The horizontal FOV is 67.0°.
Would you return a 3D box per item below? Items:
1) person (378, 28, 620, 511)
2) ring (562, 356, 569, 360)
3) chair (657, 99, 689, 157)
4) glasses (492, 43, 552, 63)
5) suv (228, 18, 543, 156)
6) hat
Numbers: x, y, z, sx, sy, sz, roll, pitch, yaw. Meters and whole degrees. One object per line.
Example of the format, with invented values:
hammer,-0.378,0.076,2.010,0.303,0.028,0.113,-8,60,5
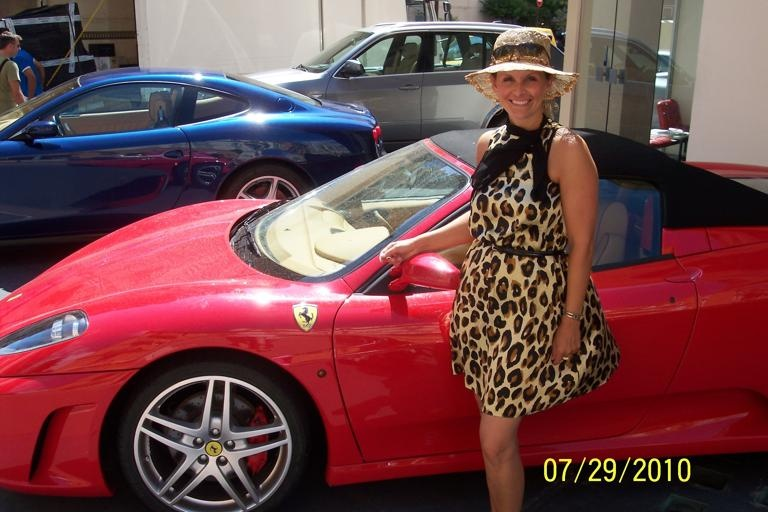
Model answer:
person,0.675,0.100,2.638,0.740,2.191,0.486,7,13,22
ring,0.799,0.450,2.564,0.038,0.015,0.013,15,30,-36
chair,3.827,-1.649,7.543,0.364,0.698,0.410,-21,26,-20
glasses,0.600,-0.879,2.563,0.156,0.060,0.121,0,4,-7
suv,0.135,-2.932,10.541,6.252,2.550,2.572,-4,23,-10
hat,0.637,-0.824,2.612,0.429,0.214,0.421,0,10,14
